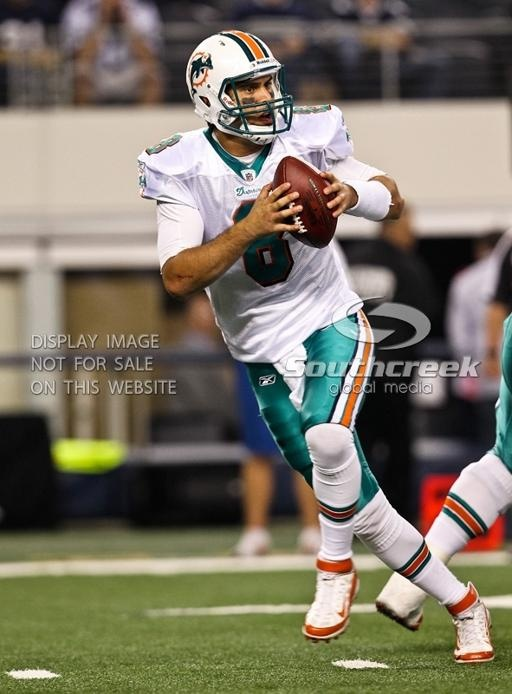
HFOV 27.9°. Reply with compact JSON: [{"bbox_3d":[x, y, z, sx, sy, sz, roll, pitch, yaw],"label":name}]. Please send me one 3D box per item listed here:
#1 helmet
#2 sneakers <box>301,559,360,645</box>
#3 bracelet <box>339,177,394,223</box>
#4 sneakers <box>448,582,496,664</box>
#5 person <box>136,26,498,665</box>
[{"bbox_3d":[-0.074,-0.554,2.231,0.218,0.214,0.297,-21,31,-35],"label":"helmet"},{"bbox_3d":[0.173,0.530,2.204,0.079,0.098,0.206,2,39,18],"label":"sneakers"},{"bbox_3d":[0.237,-0.310,2.204,0.082,0.074,0.095,9,-27,-1],"label":"bracelet"},{"bbox_3d":[0.455,0.591,2.187,0.067,0.079,0.186,-11,5,11],"label":"sneakers"},{"bbox_3d":[0.132,-0.016,2.240,0.692,1.327,0.484,-2,14,10],"label":"person"}]
